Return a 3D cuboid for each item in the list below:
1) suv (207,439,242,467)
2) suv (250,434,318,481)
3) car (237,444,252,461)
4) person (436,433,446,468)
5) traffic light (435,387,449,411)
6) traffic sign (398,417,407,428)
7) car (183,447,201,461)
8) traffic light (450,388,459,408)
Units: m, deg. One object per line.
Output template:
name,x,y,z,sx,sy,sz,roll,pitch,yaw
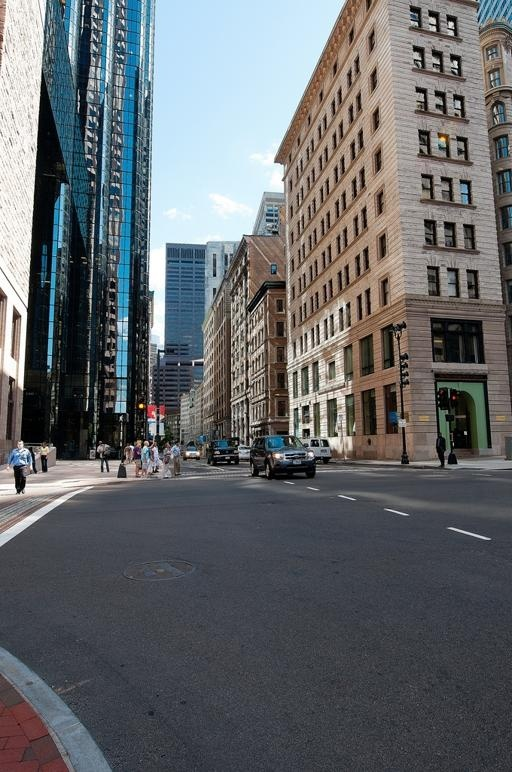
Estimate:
suv,-2.996,5.714,45.244,1.471,1.833,3.197,0,-14,-13
suv,0.976,3.094,23.467,1.418,1.605,3.227,1,-16,-15
car,-1.130,6.805,49.956,1.390,1.735,3.028,0,-1,-4
person,9.785,3.565,28.206,0.356,1.672,1.655,-3,-9,16
traffic light,10.614,0.799,30.318,0.574,1.347,1.644,-3,-10,16
traffic sign,8.863,2.339,32.587,0.413,0.568,1.134,-4,-10,18
car,-8.913,9.395,72.775,1.308,1.780,3.158,1,-14,-12
traffic light,10.934,0.737,29.632,0.346,1.039,0.961,-4,-9,23
